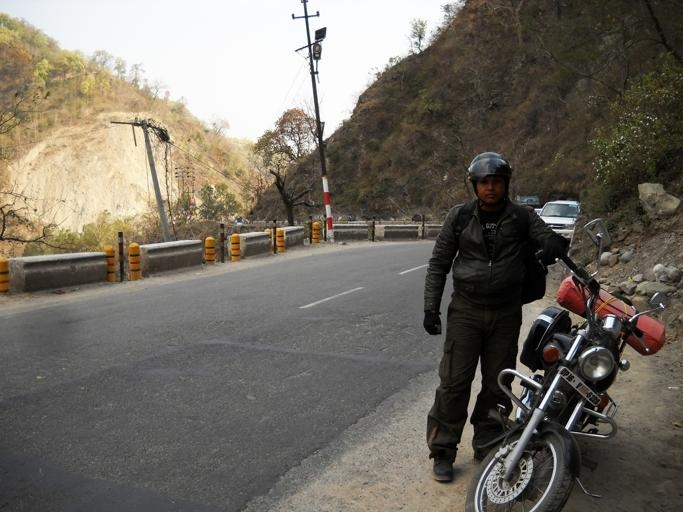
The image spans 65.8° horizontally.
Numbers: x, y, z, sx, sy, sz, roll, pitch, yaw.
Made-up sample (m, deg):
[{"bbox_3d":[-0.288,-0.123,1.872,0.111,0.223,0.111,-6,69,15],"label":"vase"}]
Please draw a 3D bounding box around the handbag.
[{"bbox_3d":[2.212,0.480,4.209,0.869,0.357,0.551,29,16,5],"label":"handbag"}]

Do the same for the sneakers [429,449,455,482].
[{"bbox_3d":[0.866,1.785,4.479,0.115,0.153,0.327,1,-7,1],"label":"sneakers"}]

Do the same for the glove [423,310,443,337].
[{"bbox_3d":[0.770,0.572,4.468,0.137,0.249,0.302,1,7,15],"label":"glove"}]

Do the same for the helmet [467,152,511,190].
[{"bbox_3d":[1.260,-0.697,4.528,0.337,0.380,0.412,0,-3,22],"label":"helmet"}]
